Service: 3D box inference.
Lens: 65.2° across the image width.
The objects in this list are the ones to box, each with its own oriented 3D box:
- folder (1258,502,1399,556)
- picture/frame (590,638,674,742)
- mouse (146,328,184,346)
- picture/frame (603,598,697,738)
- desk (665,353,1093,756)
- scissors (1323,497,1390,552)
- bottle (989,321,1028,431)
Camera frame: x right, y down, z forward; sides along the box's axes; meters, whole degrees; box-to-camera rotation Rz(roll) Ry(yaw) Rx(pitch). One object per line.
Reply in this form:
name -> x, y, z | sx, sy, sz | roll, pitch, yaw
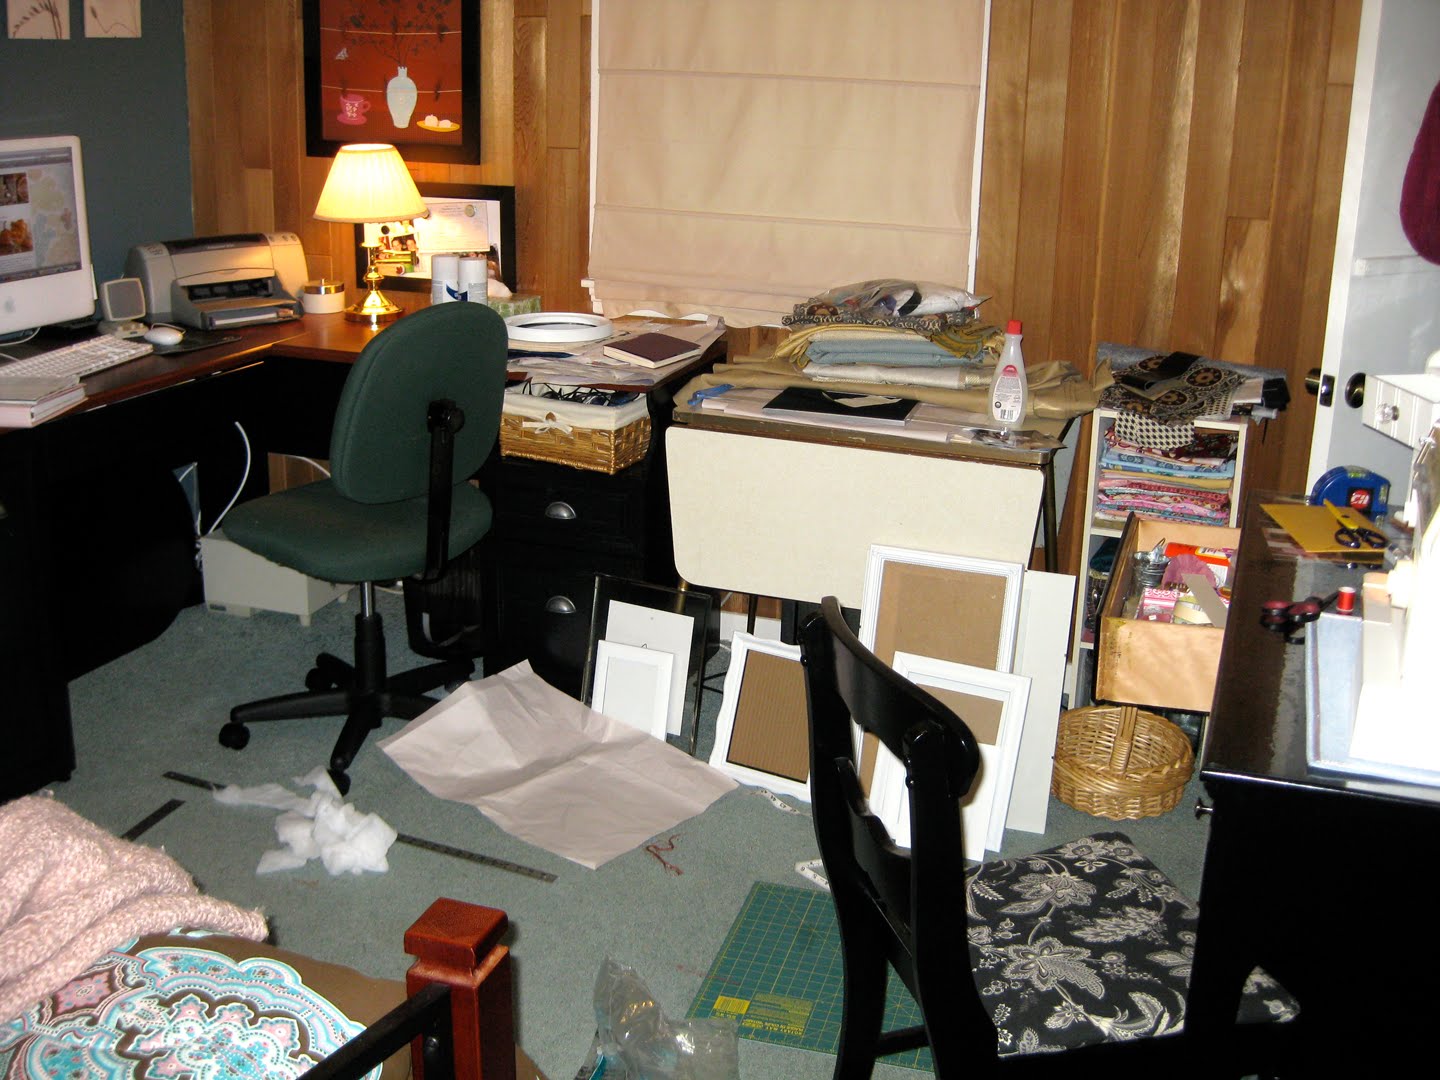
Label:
folder -> 1.181, -0.016, 2.180 | 0.112, 0.013, 0.156 | -5, 21, -2
picture/frame -> -0.252, 0.434, 3.250 | 0.294, 0.330, 0.023 | 4, 4, 14
mouse -> -1.705, -0.626, 3.440 | 0.083, 0.032, 0.063 | 9, 28, 10
picture/frame -> -0.219, 0.364, 3.248 | 0.368, 0.465, 0.034 | 7, 11, 16
desk -> 0.492, 0.023, 3.420 | 1.136, 1.026, 0.882 | 7, 23, 19
scissors -> 1.225, -0.031, 2.178 | 0.070, 0.014, 0.131 | -1, 21, 4
bottle -> 0.768, -0.447, 2.964 | 0.096, 0.263, 0.335 | 6, 20, 15
